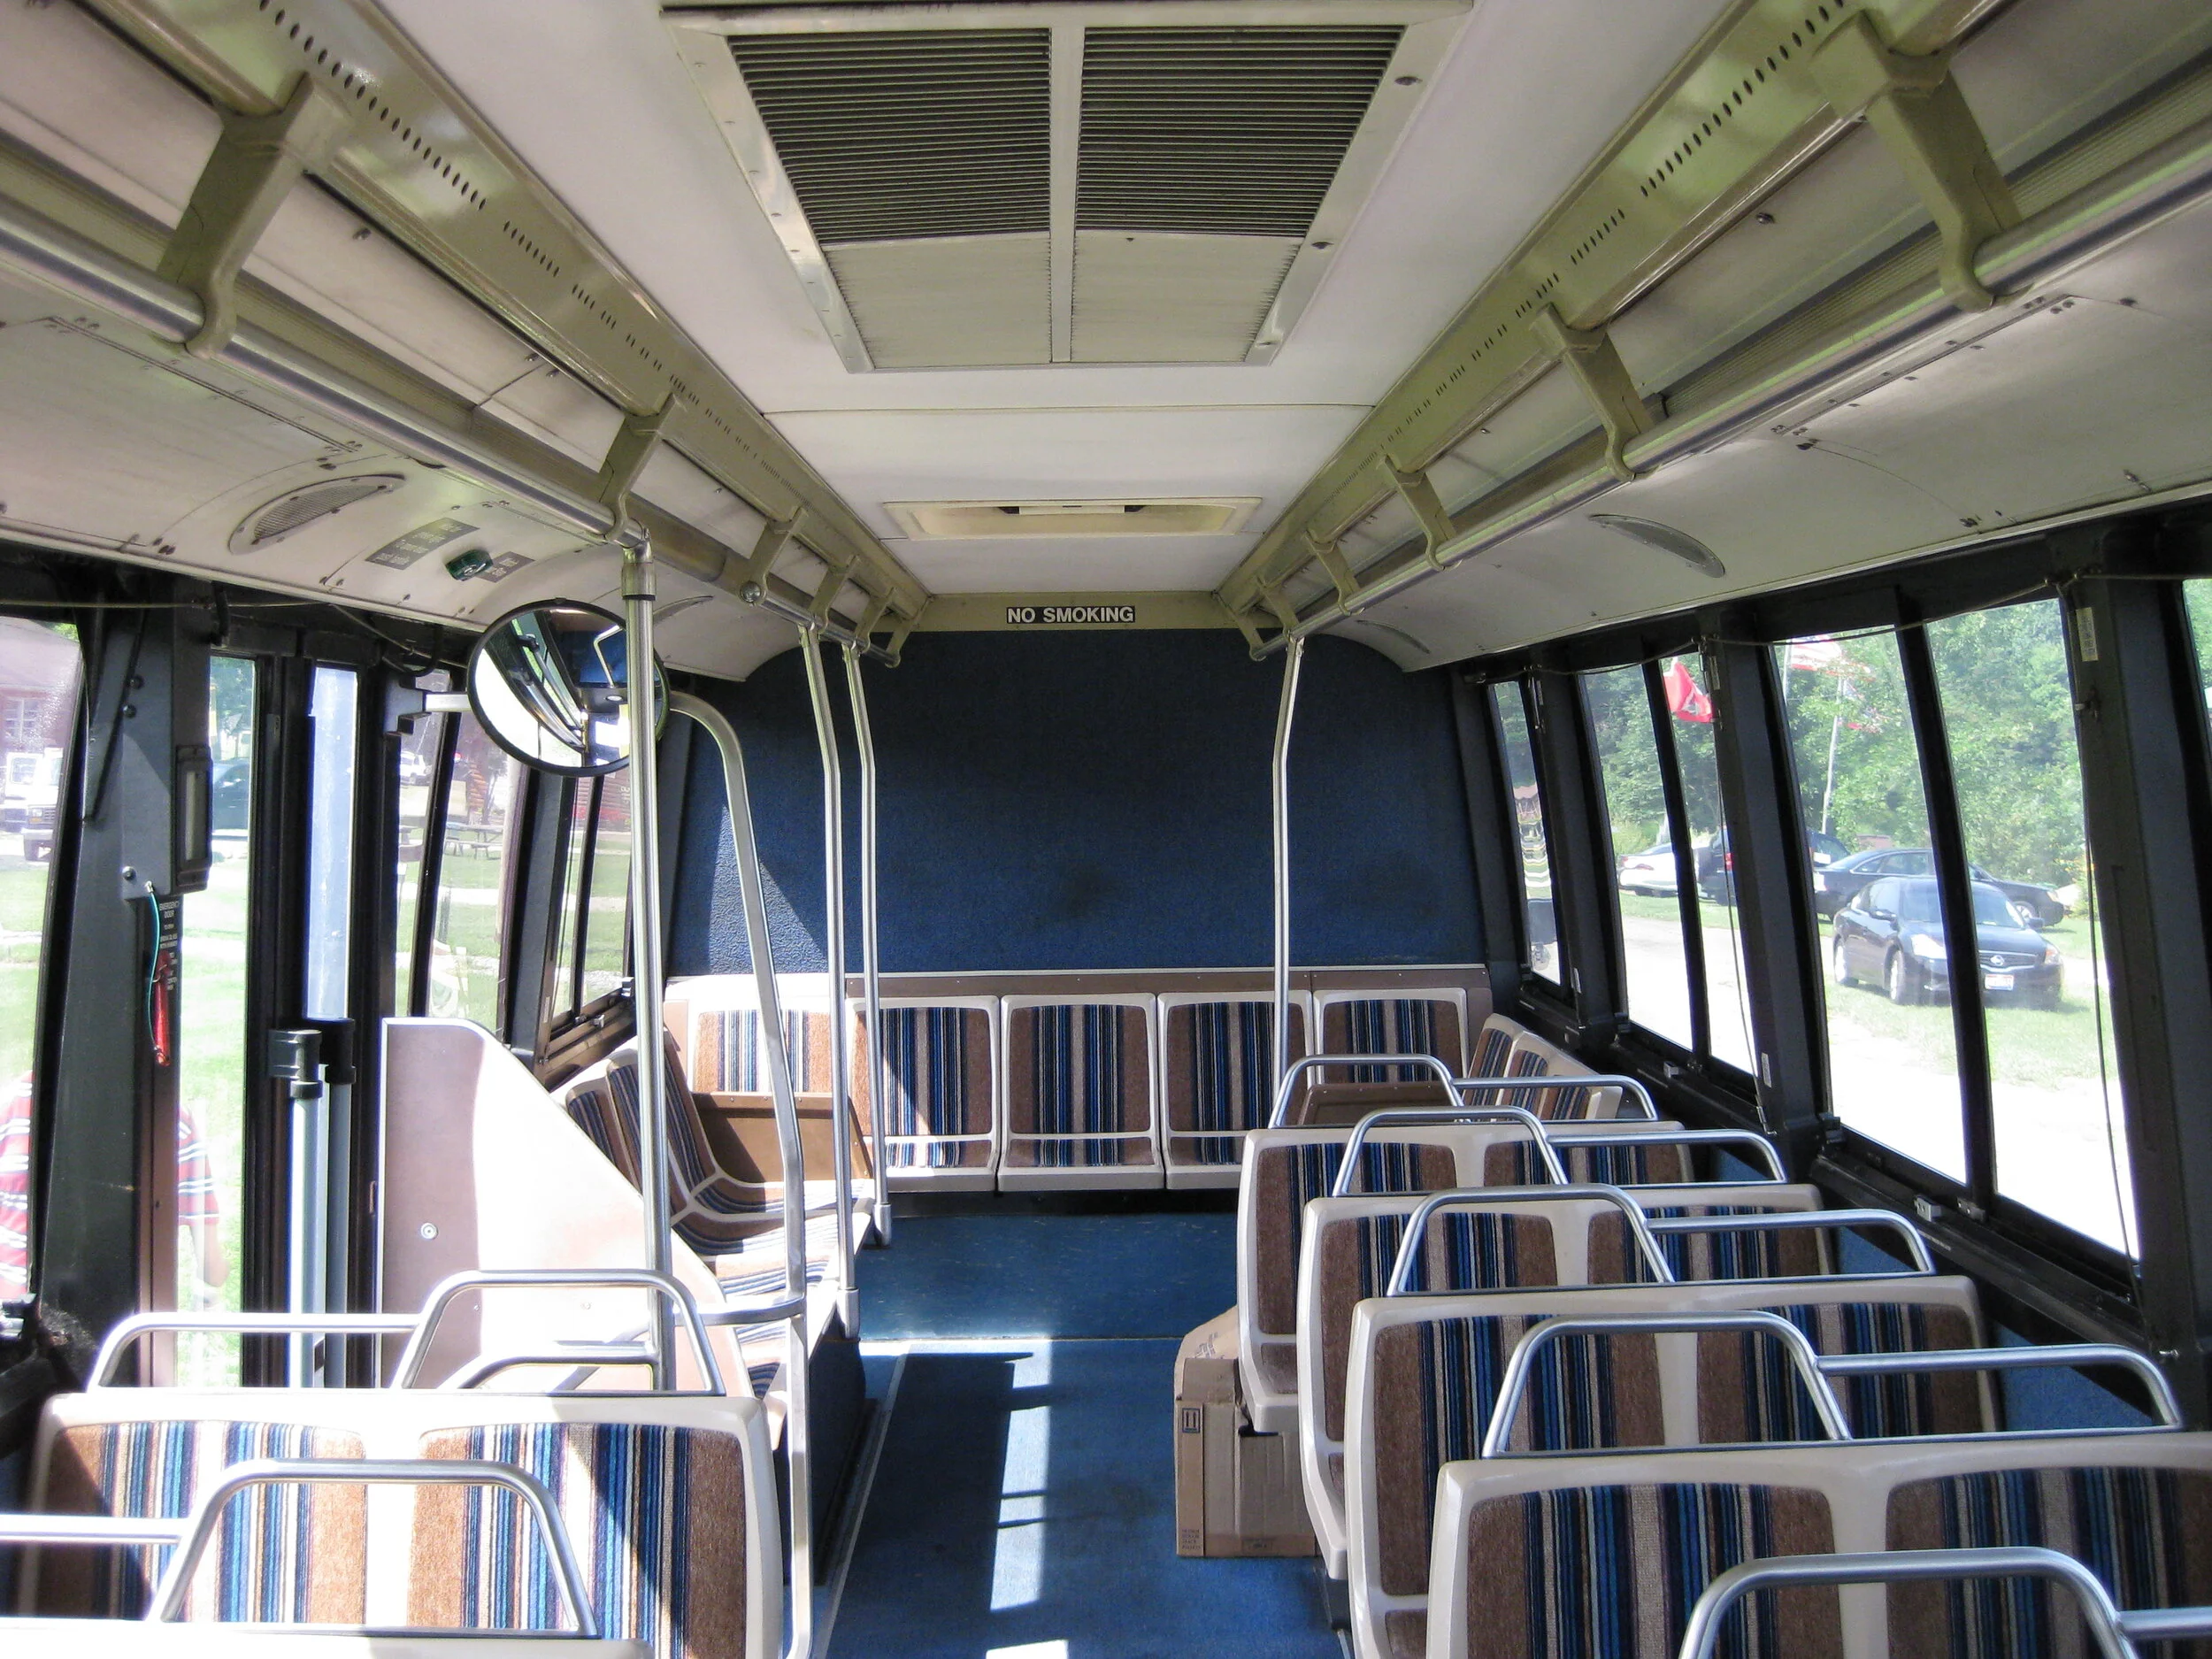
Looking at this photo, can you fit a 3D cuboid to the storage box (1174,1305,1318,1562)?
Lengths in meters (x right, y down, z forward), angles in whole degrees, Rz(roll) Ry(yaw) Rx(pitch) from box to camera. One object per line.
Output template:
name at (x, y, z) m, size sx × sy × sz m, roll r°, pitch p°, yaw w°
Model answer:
storage box at (0.423, 2.253, 5.740) m, size 0.599 × 0.780 × 1.081 m, roll -2°, pitch 2°, yaw 0°
